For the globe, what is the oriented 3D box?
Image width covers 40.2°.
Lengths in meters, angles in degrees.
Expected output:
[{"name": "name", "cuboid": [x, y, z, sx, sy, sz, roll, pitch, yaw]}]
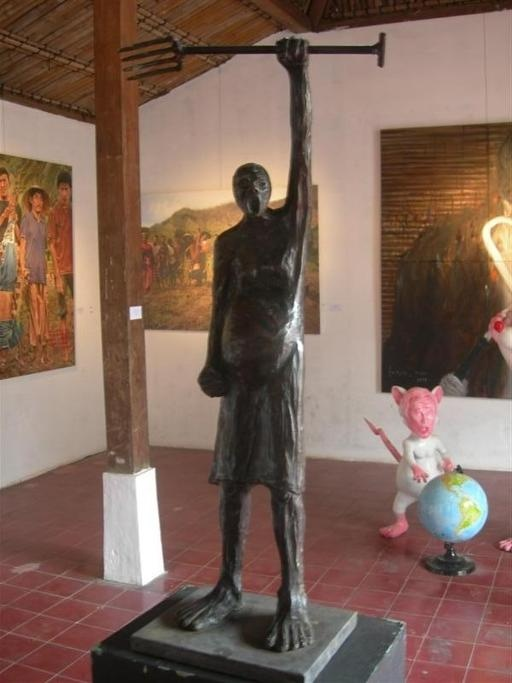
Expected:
[{"name": "globe", "cuboid": [1.136, 1.090, 4.215, 0.384, 0.624, 0.422, 4, 6, 23]}]

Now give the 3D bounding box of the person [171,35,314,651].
[{"name": "person", "cuboid": [-0.012, 0.019, 2.140, 0.488, 1.708, 0.455, -2, -1, 17]}]
